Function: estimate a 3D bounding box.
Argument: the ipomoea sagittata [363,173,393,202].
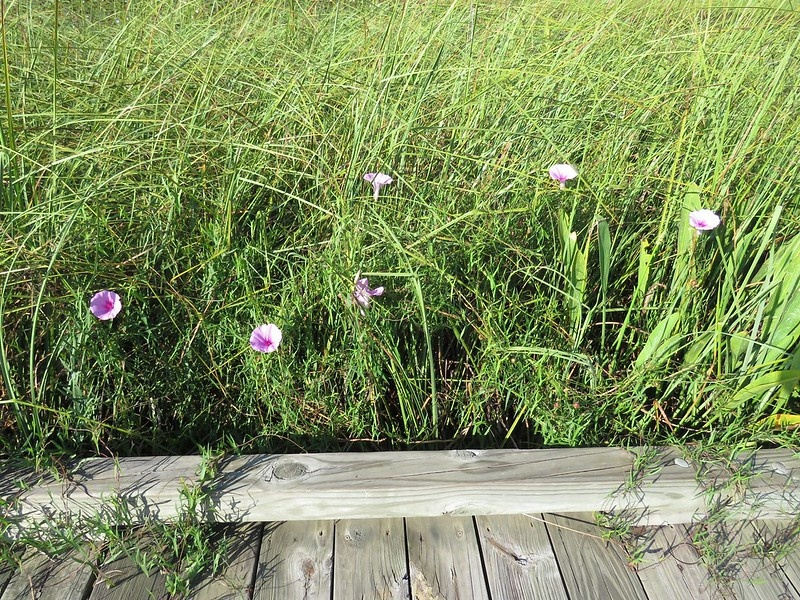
[{"bbox_3d":[-0.062,-0.348,1.899,0.075,0.106,0.094,-2,28,-5],"label":"ipomoea sagittata"}]

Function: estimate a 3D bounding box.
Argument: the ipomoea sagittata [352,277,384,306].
[{"bbox_3d":[-0.091,-0.019,1.746,0.063,0.038,0.083,19,60,-13],"label":"ipomoea sagittata"}]

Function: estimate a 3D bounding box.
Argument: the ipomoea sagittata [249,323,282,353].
[{"bbox_3d":[-0.362,0.113,1.708,0.078,0.069,0.078,-3,40,-11],"label":"ipomoea sagittata"}]
